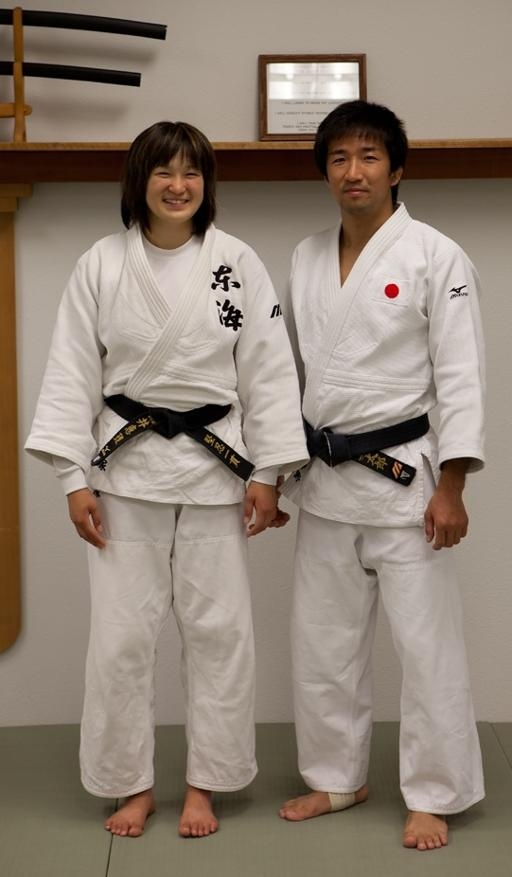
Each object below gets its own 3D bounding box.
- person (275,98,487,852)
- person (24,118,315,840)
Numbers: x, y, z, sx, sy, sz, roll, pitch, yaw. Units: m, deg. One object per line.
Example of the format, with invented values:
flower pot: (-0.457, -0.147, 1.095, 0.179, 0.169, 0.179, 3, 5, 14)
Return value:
person: (0.282, 0.070, 1.733, 0.459, 1.619, 0.280, -1, 0, 16)
person: (-0.196, 0.102, 1.687, 0.601, 1.537, 0.262, 0, 0, -17)
